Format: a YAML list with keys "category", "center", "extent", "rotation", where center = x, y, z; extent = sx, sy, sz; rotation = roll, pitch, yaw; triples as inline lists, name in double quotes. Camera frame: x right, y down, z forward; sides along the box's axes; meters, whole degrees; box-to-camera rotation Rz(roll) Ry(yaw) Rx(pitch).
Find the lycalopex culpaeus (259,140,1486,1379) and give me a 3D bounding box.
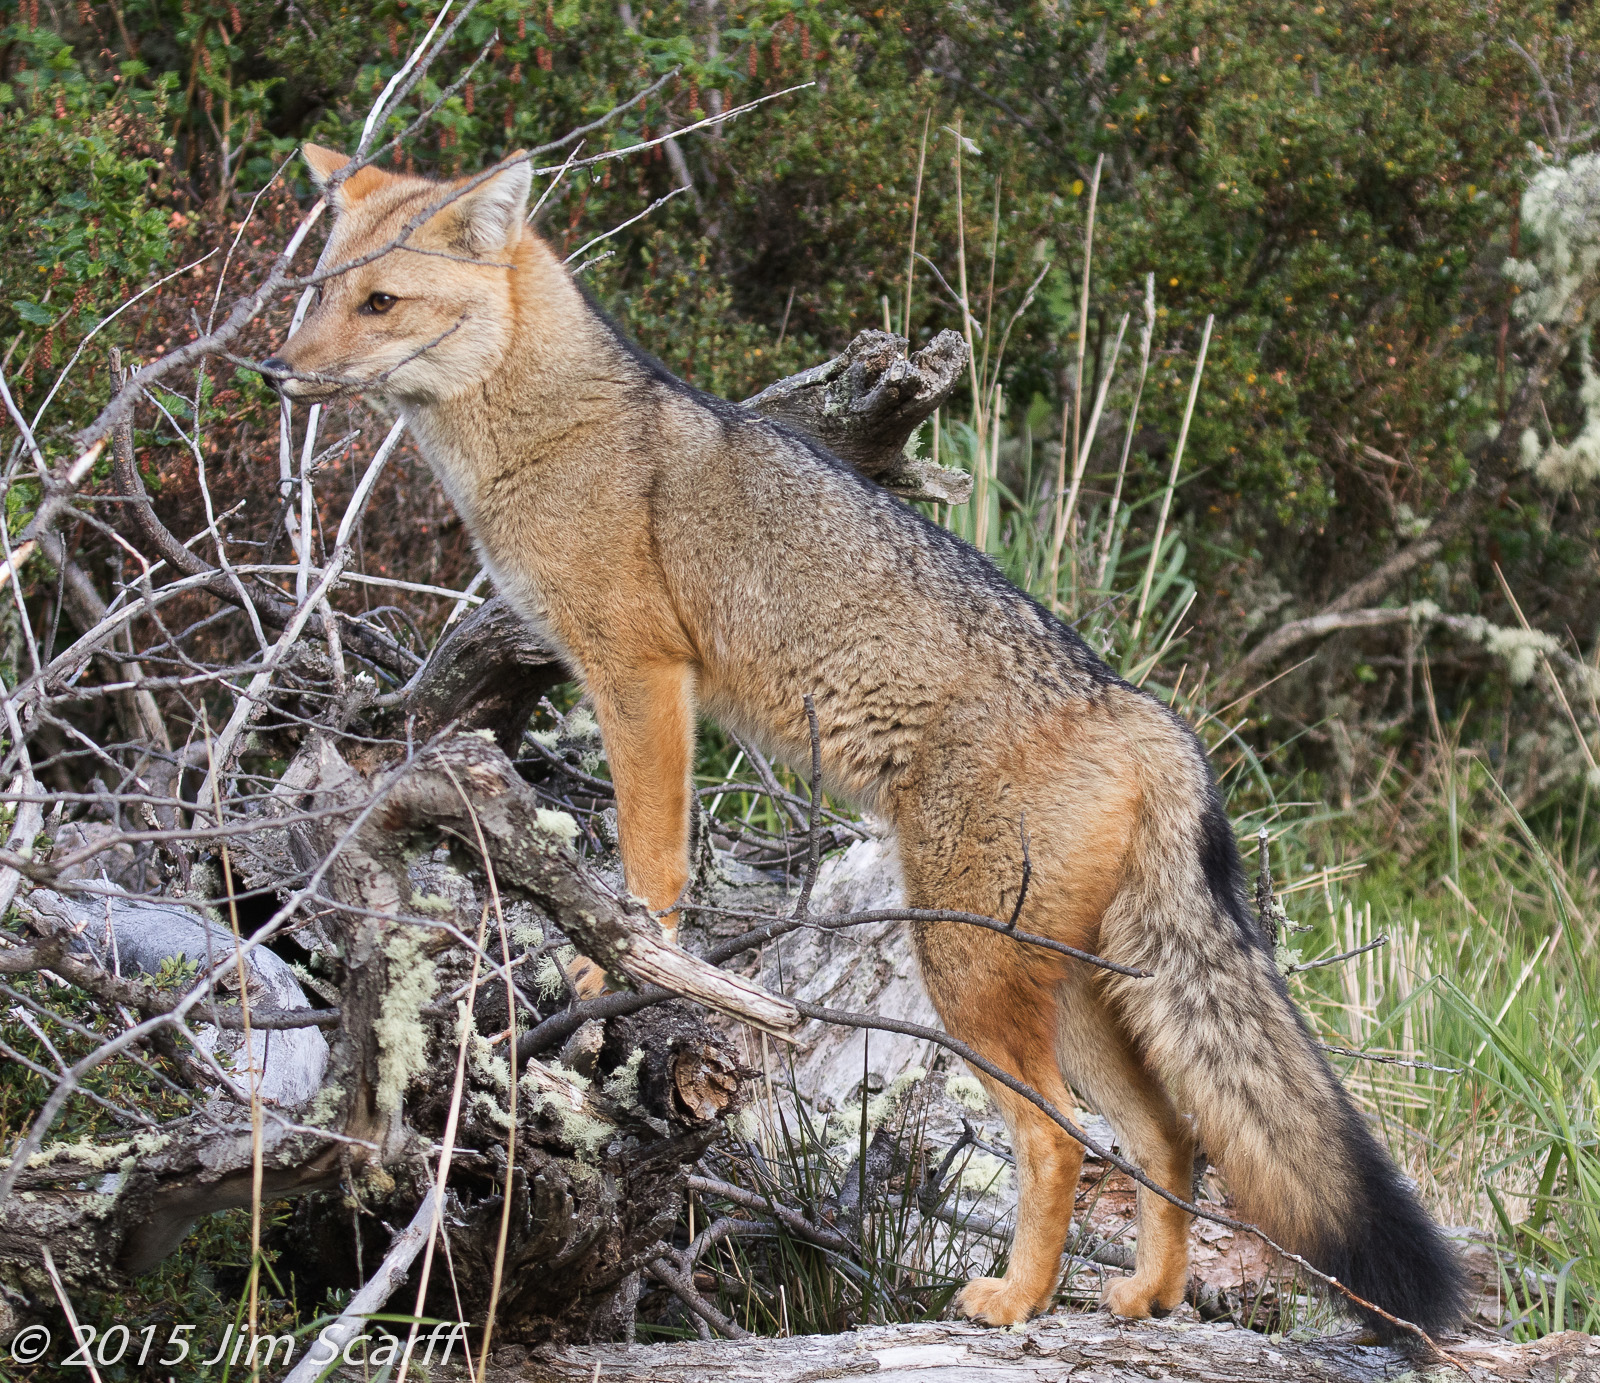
- category: "lycalopex culpaeus"
  center: [0.159, 0.146, 6.466]
  extent: [3.763, 2.670, 0.876]
  rotation: [21, 21, 25]
